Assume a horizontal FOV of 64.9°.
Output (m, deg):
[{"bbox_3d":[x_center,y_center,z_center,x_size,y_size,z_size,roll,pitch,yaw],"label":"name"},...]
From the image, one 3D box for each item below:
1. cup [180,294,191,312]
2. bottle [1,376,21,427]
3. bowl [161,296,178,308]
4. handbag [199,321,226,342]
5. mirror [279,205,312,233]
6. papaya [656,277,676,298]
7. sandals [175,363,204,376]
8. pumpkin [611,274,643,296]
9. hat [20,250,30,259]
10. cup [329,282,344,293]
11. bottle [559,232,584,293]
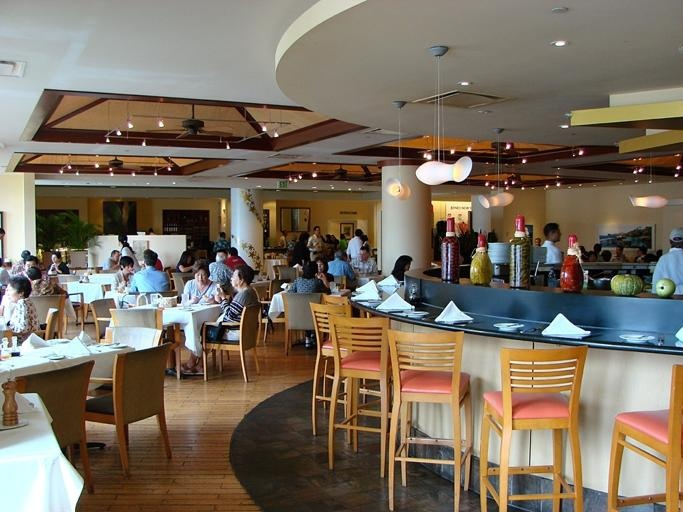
[{"bbox_3d":[-2.089,0.635,7.232,0.182,0.254,0.172,1,-4,0],"label":"cup"},{"bbox_3d":[-1.792,0.780,2.904,0.076,0.248,0.234,-3,5,-31],"label":"bottle"},{"bbox_3d":[-2.236,0.608,6.981,0.170,0.092,0.159,1,1,0],"label":"bowl"},{"bbox_3d":[-1.603,0.970,6.745,0.298,0.245,0.210,2,-5,17],"label":"handbag"},{"bbox_3d":[-2.131,-1.644,23.764,0.154,1.447,1.944,-1,-2,44],"label":"mirror"},{"bbox_3d":[2.199,0.219,3.668,0.112,0.132,0.226,2,5,30],"label":"papaya"},{"bbox_3d":[-1.965,1.486,6.997,0.439,0.099,0.161,1,-5,14],"label":"sandals"},{"bbox_3d":[1.970,0.197,3.737,0.173,0.128,0.163,0,3,-11],"label":"pumpkin"},{"bbox_3d":[-6.181,-0.034,10.531,0.254,0.127,0.249,-7,0,-39],"label":"hat"},{"bbox_3d":[-0.080,0.516,8.653,0.139,0.147,0.222,0,0,-5],"label":"cup"},{"bbox_3d":[1.716,0.049,4.016,0.141,0.414,0.384,2,5,22],"label":"bottle"}]
